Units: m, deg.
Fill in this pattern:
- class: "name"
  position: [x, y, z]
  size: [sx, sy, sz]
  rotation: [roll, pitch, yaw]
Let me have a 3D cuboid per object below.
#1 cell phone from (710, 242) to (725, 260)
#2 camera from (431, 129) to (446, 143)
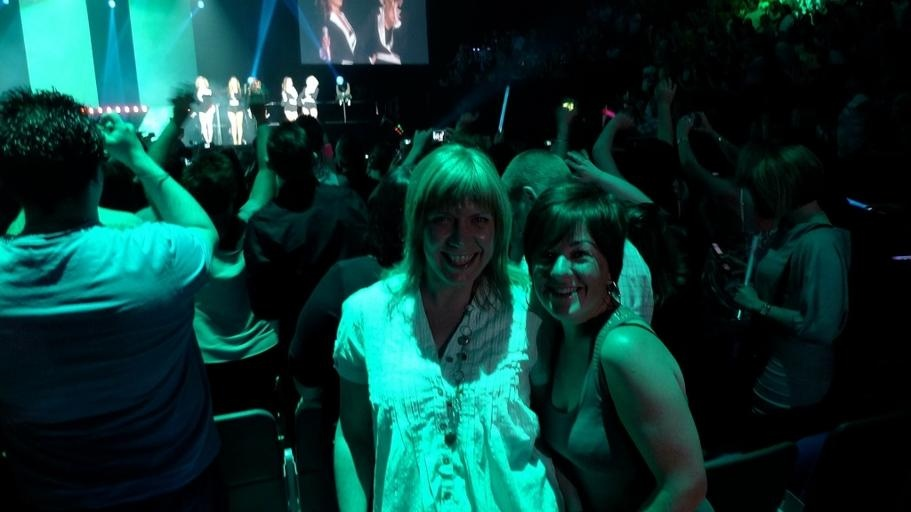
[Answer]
- class: "cell phone"
  position: [1.859, -0.039, 4.859]
  size: [0.024, 0.035, 0.120]
  rotation: [6, 30, -11]
- class: "camera"
  position: [-0.119, -0.907, 5.228]
  size: [0.090, 0.118, 0.167]
  rotation: [3, 13, 22]
